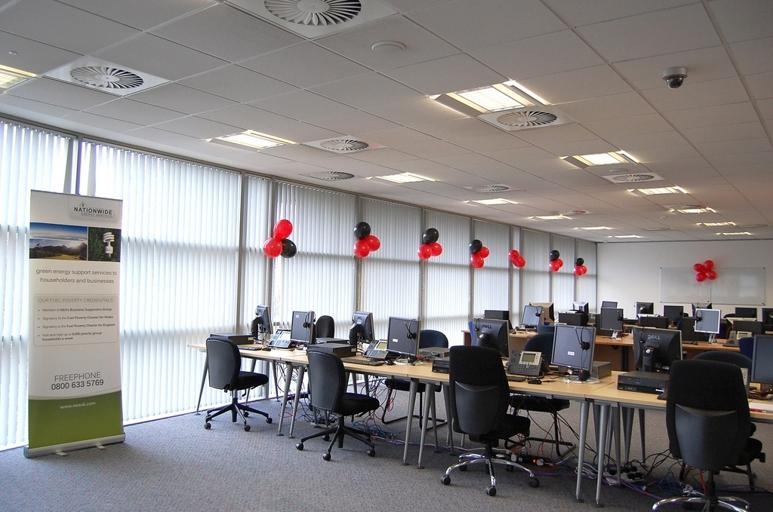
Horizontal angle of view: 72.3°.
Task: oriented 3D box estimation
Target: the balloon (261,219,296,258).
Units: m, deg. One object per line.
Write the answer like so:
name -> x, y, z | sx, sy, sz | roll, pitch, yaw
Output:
balloon -> -1.696, -0.228, 8.419 | 0.486, 0.690, 0.317 | 36, 24, 21

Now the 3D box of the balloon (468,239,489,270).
balloon -> 2.194, -0.031, 11.697 | 0.334, 0.623, 0.700 | -2, -9, -30

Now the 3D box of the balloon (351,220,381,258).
balloon -> -0.388, -0.292, 9.450 | 0.421, 0.599, 0.338 | -1, 3, -33

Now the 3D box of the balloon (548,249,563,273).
balloon -> 5.105, 0.141, 15.974 | 0.381, 0.577, 0.632 | 0, -34, 24

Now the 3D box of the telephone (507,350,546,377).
telephone -> 1.693, 1.324, 6.435 | 0.518, 0.302, 0.270 | -4, -20, 23

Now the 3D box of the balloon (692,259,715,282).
balloon -> 10.429, 0.496, 17.106 | 0.829, 0.681, 0.303 | -14, -6, -6

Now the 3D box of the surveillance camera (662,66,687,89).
surveillance camera -> 2.819, -1.724, 5.160 | 0.219, 0.143, 0.202 | -1, -5, 11

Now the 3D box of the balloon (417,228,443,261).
balloon -> 0.846, -0.238, 10.223 | 0.369, 0.585, 0.509 | 1, 2, 9
